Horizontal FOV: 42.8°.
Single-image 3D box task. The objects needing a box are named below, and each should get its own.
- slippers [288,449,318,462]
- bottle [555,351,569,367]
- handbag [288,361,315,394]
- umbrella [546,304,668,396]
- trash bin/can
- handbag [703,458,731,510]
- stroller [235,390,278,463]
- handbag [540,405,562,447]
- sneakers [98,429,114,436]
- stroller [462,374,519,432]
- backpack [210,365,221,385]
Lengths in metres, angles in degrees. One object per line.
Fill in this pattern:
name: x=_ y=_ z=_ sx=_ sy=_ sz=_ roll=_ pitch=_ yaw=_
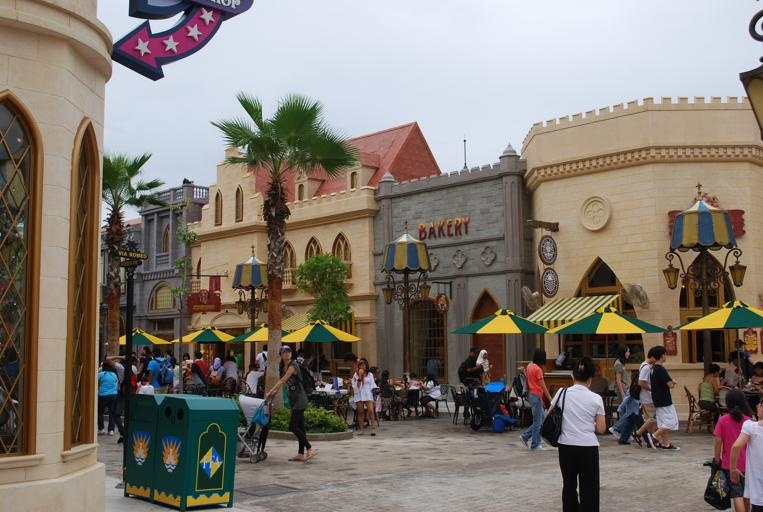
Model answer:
slippers: x=-1.559 y=3.995 z=19.561 sx=0.286 sy=0.099 sz=0.204 roll=24 pitch=-8 yaw=-32
bottle: x=5.375 y=3.055 z=28.860 sx=0.299 sy=0.434 sz=0.557 roll=23 pitch=25 yaw=15
handbag: x=-1.644 y=2.427 z=19.498 sx=0.661 sy=0.629 sz=0.452 roll=-3 pitch=14 yaw=3
umbrella: x=5.950 y=2.352 z=25.088 sx=2.070 sy=1.449 sz=2.087 roll=-2 pitch=-11 yaw=9
trash bin/can: x=-3.267 y=3.123 z=15.696 sx=1.880 sy=1.822 sz=0.750 roll=-6 pitch=-8 yaw=25
handbag: x=4.776 y=3.240 z=13.799 sx=0.340 sy=0.680 sz=0.436 roll=-5 pitch=-8 yaw=18
stroller: x=-2.702 y=3.354 z=19.187 sx=1.083 sy=1.258 sz=0.875 roll=1 pitch=-9 yaw=-7
handbag: x=2.518 y=2.407 z=13.952 sx=0.275 sy=0.548 sz=0.480 roll=6 pitch=-3 yaw=24
sneakers: x=-6.924 y=4.417 z=24.464 sx=0.389 sy=0.169 sz=0.158 roll=-5 pitch=-8 yaw=40
stroller: x=2.834 y=3.840 z=24.789 sx=1.192 sy=1.245 sz=1.243 roll=-5 pitch=-8 yaw=42
backpack: x=-5.610 y=4.041 z=33.001 sx=0.282 sy=0.459 sz=0.485 roll=19 pitch=-28 yaw=-22
